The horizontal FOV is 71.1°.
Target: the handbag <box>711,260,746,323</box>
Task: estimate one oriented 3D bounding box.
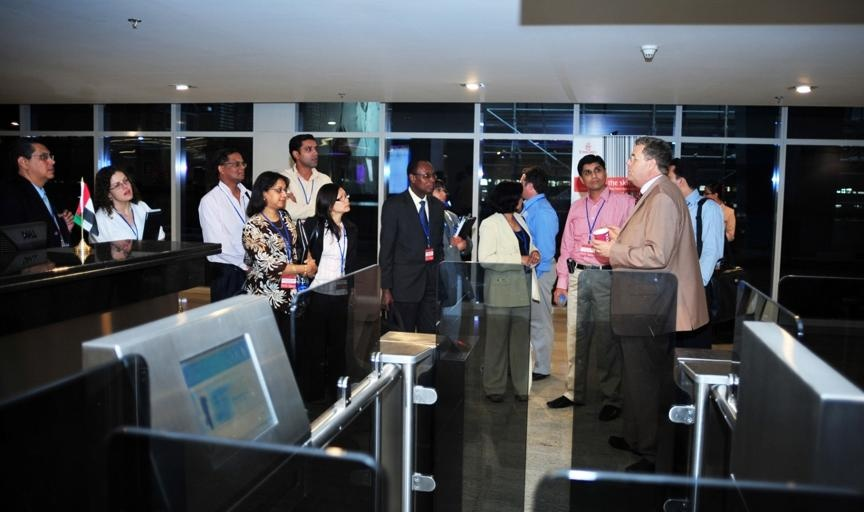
[{"bbox_3d":[1.578,0.191,3.230,0.171,0.257,0.286,2,5,24],"label":"handbag"}]

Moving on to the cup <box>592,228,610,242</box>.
[{"bbox_3d":[0.931,-0.113,3.303,0.079,0.059,0.081,-1,4,0],"label":"cup"}]
